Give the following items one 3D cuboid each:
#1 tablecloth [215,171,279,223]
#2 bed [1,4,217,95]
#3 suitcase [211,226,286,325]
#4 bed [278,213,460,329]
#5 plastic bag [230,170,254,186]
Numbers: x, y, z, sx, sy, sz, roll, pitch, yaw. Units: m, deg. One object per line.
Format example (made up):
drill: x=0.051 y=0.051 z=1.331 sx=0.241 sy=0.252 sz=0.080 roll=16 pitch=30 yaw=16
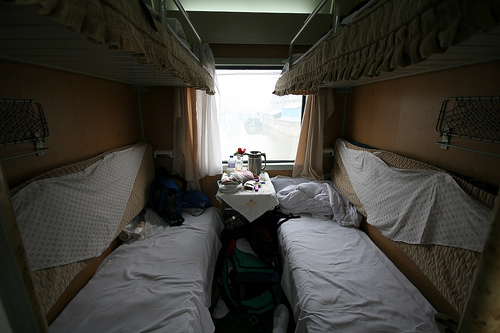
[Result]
tablecloth: x=0.009 y=0.408 z=3.673 sx=0.613 sy=0.320 sz=0.694 roll=0 pitch=6 yaw=1
bed: x=-0.865 y=-0.788 z=2.226 sx=0.728 sy=0.358 sz=1.312 roll=3 pitch=12 yaw=11
suitcase: x=0.010 y=1.120 z=3.171 sx=0.621 sy=0.870 sz=0.317 roll=-1 pitch=-26 yaw=1
bed: x=0.945 y=0.881 z=2.926 sx=1.146 sy=0.661 sz=1.353 roll=1 pitch=5 yaw=-7
plastic bag: x=-0.094 y=0.130 z=3.634 sx=0.135 sy=0.080 sz=0.225 roll=15 pitch=15 yaw=37
